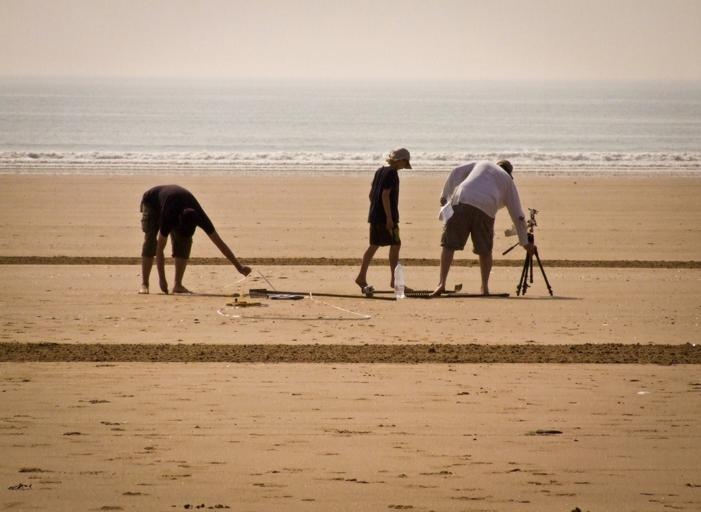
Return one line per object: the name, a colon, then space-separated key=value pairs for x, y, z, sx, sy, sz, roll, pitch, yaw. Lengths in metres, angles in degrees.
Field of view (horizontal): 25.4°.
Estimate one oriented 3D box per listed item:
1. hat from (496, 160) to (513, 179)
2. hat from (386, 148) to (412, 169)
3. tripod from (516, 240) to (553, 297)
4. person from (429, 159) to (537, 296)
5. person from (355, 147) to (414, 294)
hat: x=2.726 y=-1.533 z=27.204 sx=0.309 sy=0.325 sz=0.395 roll=5 pitch=2 yaw=18
hat: x=0.940 y=-1.713 z=27.092 sx=0.453 sy=0.231 sz=0.317 roll=14 pitch=10 yaw=-29
tripod: x=3.376 y=0.250 z=28.071 sx=0.622 sy=1.121 sz=0.645 roll=16 pitch=-26 yaw=-32
person: x=2.291 y=-0.481 z=26.890 sx=1.416 sy=2.324 sz=0.635 roll=5 pitch=10 yaw=3
person: x=0.622 y=-0.655 z=27.259 sx=0.784 sy=2.497 sz=1.374 roll=5 pitch=10 yaw=1
